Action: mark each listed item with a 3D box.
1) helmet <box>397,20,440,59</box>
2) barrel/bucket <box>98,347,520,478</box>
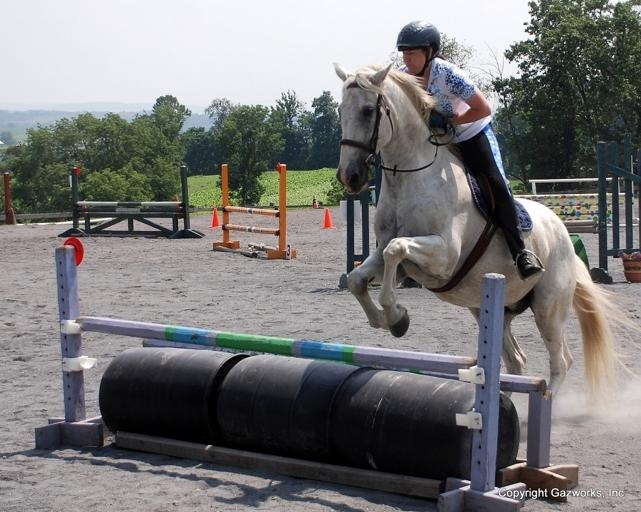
[{"bbox_3d":[0.786,-1.740,8.980,0.332,0.279,0.131,-3,11,0],"label":"helmet"},{"bbox_3d":[-0.200,1.161,8.953,3.820,1.121,1.108,4,19,11],"label":"barrel/bucket"}]
